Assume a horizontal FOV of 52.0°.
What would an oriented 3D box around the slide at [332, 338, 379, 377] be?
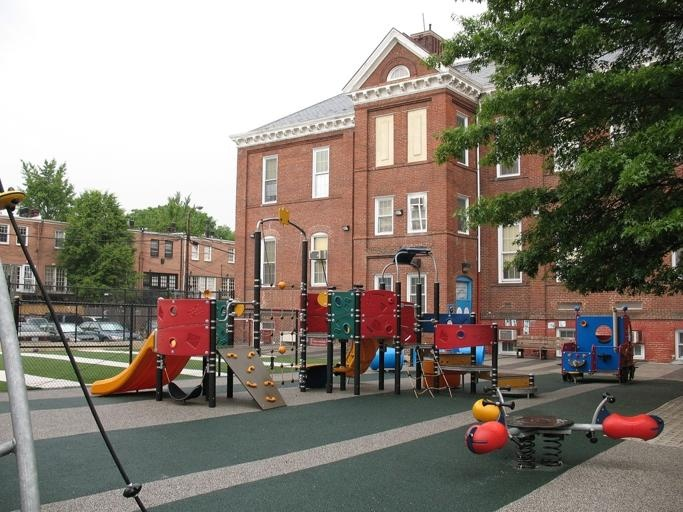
[{"bbox_3d":[0.355,2.626,18.226,1.010,1.057,0.902,0,-3,23],"label":"slide"}]
